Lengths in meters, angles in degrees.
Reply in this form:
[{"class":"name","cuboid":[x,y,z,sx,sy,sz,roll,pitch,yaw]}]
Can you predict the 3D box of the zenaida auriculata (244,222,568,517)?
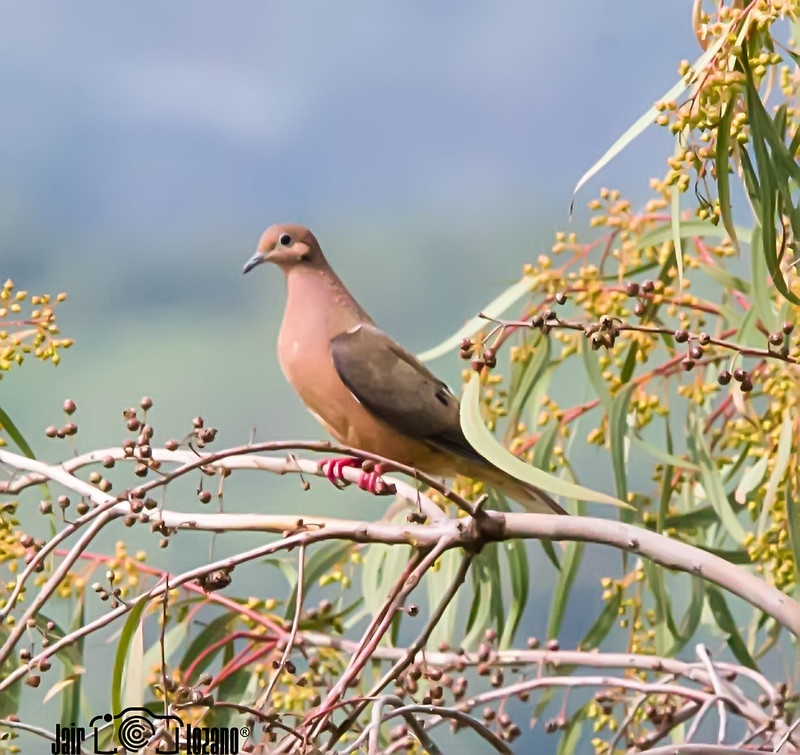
[{"class":"zenaida auriculata","cuboid":[0.042,0.013,3.854,0.870,0.655,0.280,5,-11,-26]}]
